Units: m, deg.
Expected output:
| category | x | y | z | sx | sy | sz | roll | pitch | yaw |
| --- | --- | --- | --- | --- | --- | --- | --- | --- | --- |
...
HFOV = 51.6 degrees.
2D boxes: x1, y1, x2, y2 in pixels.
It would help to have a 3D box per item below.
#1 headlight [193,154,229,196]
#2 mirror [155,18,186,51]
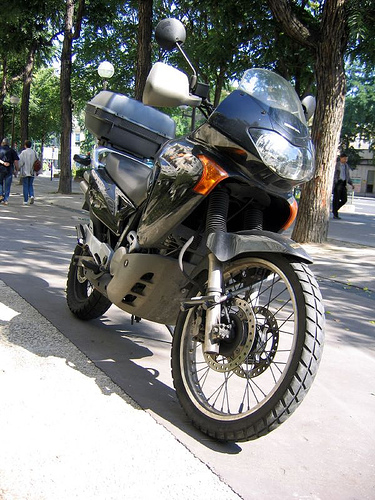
| category | x | y | z | sx | sy | sz | roll | pitch | yaw |
| --- | --- | --- | --- | --- | --- | --- | --- | --- | --- |
| headlight | 0.095 | -0.344 | 1.760 | 0.061 | 0.188 | 0.191 | 11 | -1 | -42 |
| mirror | -0.093 | -1.158 | 2.163 | 0.177 | 0.196 | 0.154 | -11 | 22 | -39 |
